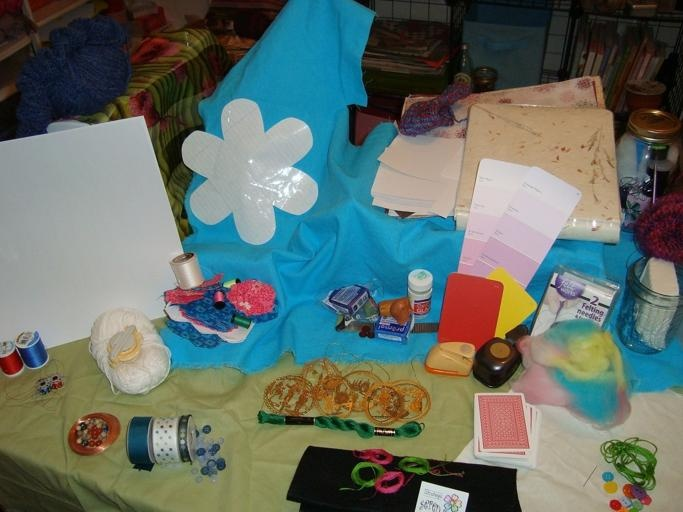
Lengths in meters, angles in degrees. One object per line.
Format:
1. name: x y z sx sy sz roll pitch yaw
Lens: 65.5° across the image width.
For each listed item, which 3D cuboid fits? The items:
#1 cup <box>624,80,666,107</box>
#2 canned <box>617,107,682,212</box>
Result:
1. cup: 1.305 -0.709 2.300 0.136 0.102 0.139 -2 36 2
2. canned: 0.973 -0.293 1.674 0.171 0.300 0.175 -12 35 -2
